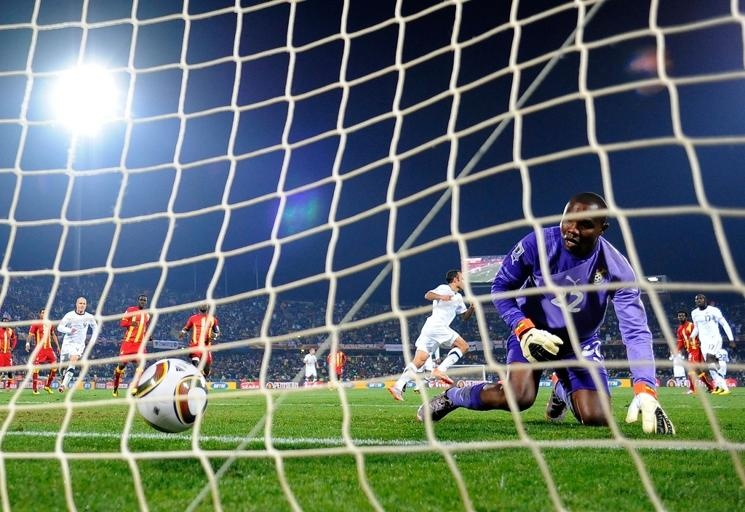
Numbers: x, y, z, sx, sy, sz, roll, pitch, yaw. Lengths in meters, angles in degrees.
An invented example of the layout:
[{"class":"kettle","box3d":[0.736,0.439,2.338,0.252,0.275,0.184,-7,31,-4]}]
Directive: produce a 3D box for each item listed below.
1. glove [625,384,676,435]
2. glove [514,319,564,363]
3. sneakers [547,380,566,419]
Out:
[{"class":"glove","box3d":[3.056,1.712,7.582,0.464,0.524,1.052,-8,-19,19]},{"class":"glove","box3d":[1.673,0.871,7.022,0.464,0.394,0.228,30,-20,20]},{"class":"sneakers","box3d":[2.247,1.811,8.382,0.190,0.567,0.240,2,10,16]}]
